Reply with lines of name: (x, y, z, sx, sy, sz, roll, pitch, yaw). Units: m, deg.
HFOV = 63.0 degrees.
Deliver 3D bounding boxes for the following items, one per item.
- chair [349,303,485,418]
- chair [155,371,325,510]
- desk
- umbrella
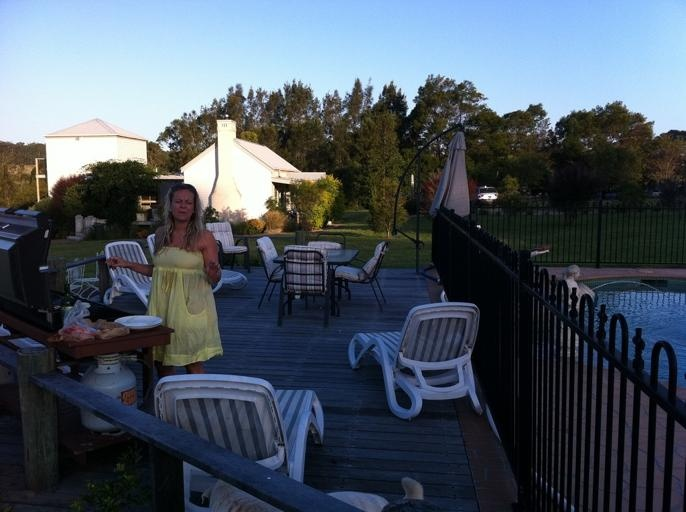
chair: (0.814, 0.846, 5.900, 0.806, 1.128, 1.738, 0, 12, -8)
chair: (-0.651, 1.016, 3.802, 0.594, 0.819, 1.267, 2, 10, 9)
desk: (-2.049, 0.798, 4.509, 1.291, 0.795, 0.810, 8, 11, 38)
umbrella: (2.134, -1.569, 10.889, 0.686, 1.659, 1.398, 2, 8, 10)
